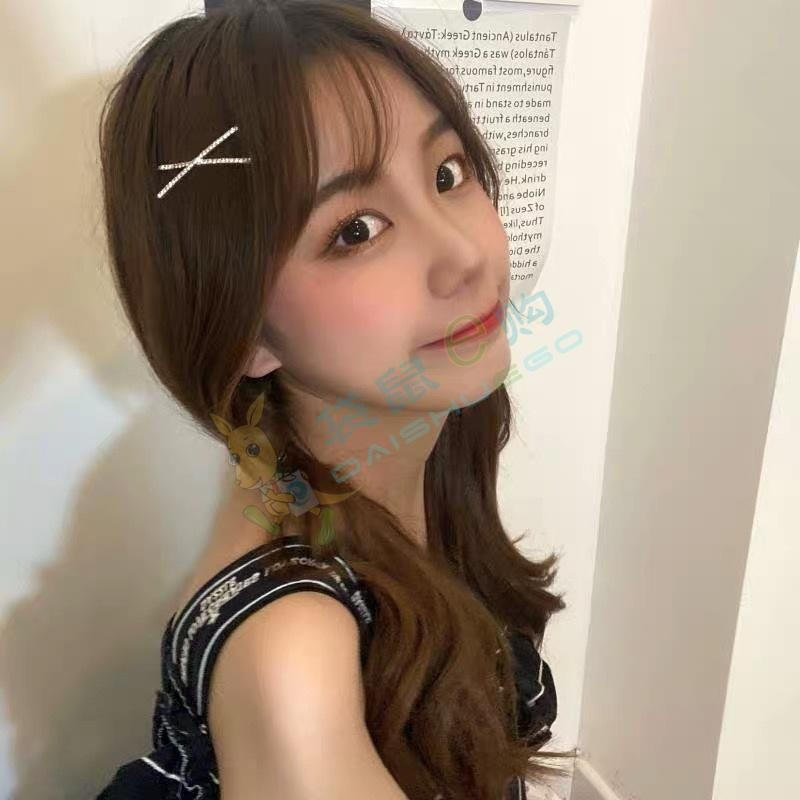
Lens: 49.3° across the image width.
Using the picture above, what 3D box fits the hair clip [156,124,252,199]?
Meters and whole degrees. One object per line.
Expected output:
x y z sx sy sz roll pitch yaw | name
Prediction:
-0.216 -0.258 0.949 0.119 0.064 0.019 -2 -1 27 | hair clip
